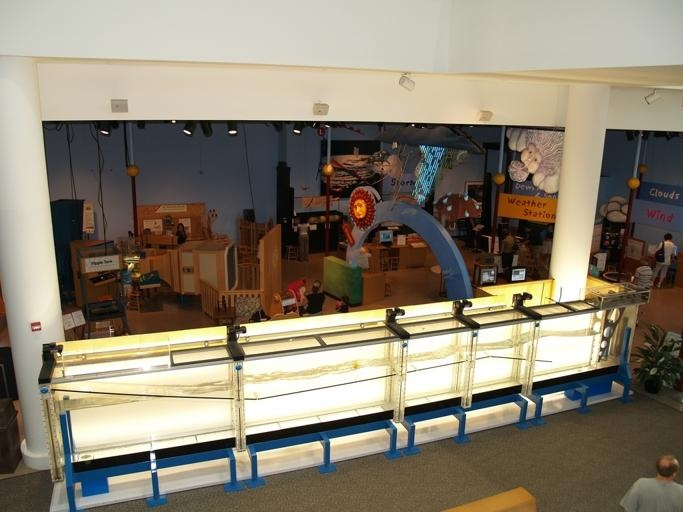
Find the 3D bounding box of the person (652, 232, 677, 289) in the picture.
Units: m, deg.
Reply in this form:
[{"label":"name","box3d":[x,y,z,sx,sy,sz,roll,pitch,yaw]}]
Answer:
[{"label":"person","box3d":[8.772,0.088,13.795,1.153,1.389,0.379,-11,13,-33]}]

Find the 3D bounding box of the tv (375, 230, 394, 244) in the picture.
[{"label":"tv","box3d":[1.312,-0.563,15.397,0.459,0.491,1.140,-3,10,4]}]

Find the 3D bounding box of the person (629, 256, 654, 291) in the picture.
[{"label":"person","box3d":[7.577,0.389,12.860,0.525,0.774,0.542,5,19,19]}]

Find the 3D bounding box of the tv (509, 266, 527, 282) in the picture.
[{"label":"tv","box3d":[3.892,0.401,11.295,0.355,0.298,0.187,-7,14,-23]}]

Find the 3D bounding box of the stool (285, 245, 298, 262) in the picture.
[{"label":"stool","box3d":[-1.654,-0.122,16.347,0.492,0.612,0.409,-6,19,-27]}]

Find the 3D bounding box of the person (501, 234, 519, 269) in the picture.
[{"label":"person","box3d":[4.825,-0.118,14.647,0.438,0.941,1.461,1,11,22]}]
